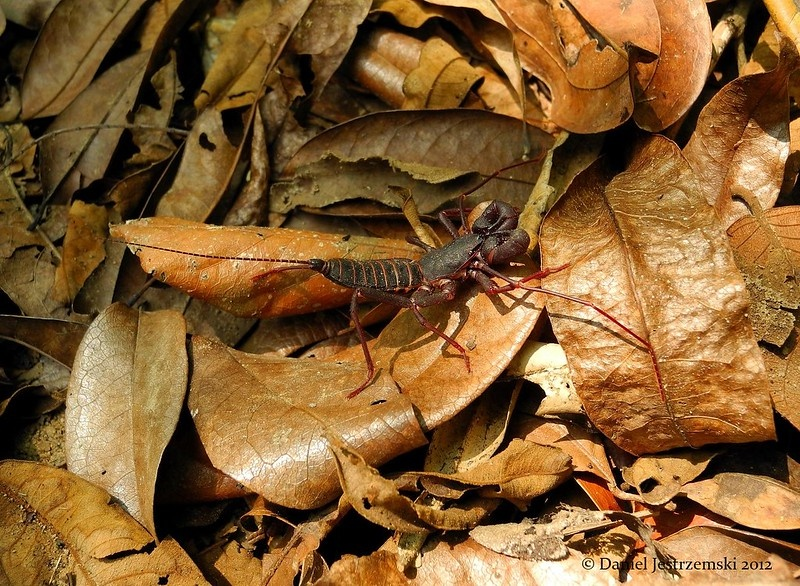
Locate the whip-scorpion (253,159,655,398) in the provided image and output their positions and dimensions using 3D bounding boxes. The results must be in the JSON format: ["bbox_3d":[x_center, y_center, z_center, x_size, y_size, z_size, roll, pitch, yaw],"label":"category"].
[{"bbox_3d":[0.238,-0.123,4.319,1.498,0.959,0.618,-9,38,-21],"label":"whip-scorpion"}]
